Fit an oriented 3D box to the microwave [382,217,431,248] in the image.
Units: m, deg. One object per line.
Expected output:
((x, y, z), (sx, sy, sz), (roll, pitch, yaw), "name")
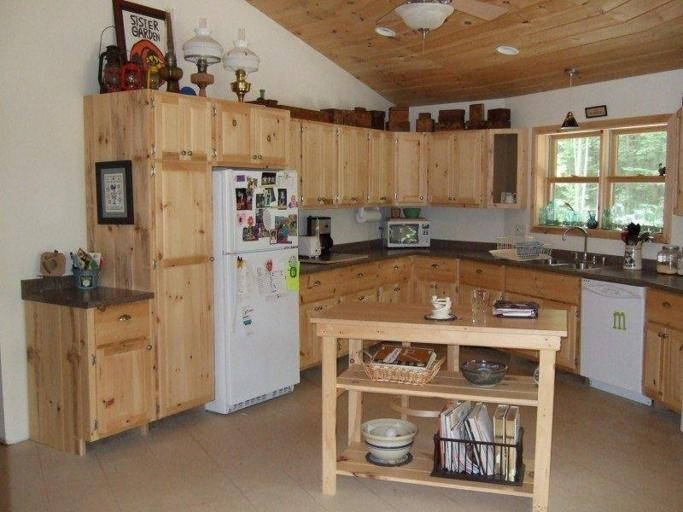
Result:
((0.851, -0.278, 7.204), (0.519, 0.339, 0.369), (0, 3, 4), "microwave")

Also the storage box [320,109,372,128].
((0.084, -1.597, 6.535), (0.255, 0.218, 0.942), (6, 13, 28), "storage box")

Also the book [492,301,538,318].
((1.131, 0.345, 3.666), (0.279, 0.079, 0.171), (3, 12, 14), "book")

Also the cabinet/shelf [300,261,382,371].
((-0.052, 0.516, 4.935), (0.387, 0.666, 1.104), (2, 8, 25), "cabinet/shelf")

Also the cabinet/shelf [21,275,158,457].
((-2.030, 0.831, 4.453), (0.976, 1.281, 0.581), (4, 12, 19), "cabinet/shelf")

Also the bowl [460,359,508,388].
((0.928, 0.761, 3.679), (0.284, 0.125, 0.301), (0, 11, 0), "bowl")

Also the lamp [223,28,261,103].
((-0.921, -1.730, 5.159), (0.307, 0.643, 0.319), (-3, 12, -12), "lamp")

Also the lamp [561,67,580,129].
((2.417, -1.634, 5.900), (0.166, 0.595, 0.626), (4, 12, 22), "lamp")

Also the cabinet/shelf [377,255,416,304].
((0.626, 0.265, 6.620), (0.295, 0.504, 0.549), (1, 4, 29), "cabinet/shelf")

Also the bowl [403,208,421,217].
((0.925, -0.561, 7.395), (0.145, 0.078, 0.143), (-1, -3, 0), "bowl")

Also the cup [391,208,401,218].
((0.724, -0.574, 7.513), (0.160, 0.155, 0.118), (2, 10, 11), "cup")

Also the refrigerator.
((-0.768, 0.286, 5.086), (0.424, 2.105, 0.977), (8, 14, 36), "refrigerator")

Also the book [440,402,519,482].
((0.871, 1.169, 3.558), (0.546, 0.423, 0.415), (0, 5, 17), "book")

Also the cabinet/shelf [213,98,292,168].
((-0.813, -1.081, 5.061), (0.258, 0.437, 0.740), (3, 7, 31), "cabinet/shelf")

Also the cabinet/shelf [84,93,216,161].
((-1.606, -1.037, 4.669), (0.707, 0.429, 0.689), (3, 5, 31), "cabinet/shelf")

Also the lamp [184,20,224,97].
((-1.198, -1.710, 4.889), (0.322, 0.657, 0.284), (-3, 12, -14), "lamp")

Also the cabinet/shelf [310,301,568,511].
((0.643, 1.043, 3.772), (1.300, 0.955, 0.515), (2, 5, 20), "cabinet/shelf")
